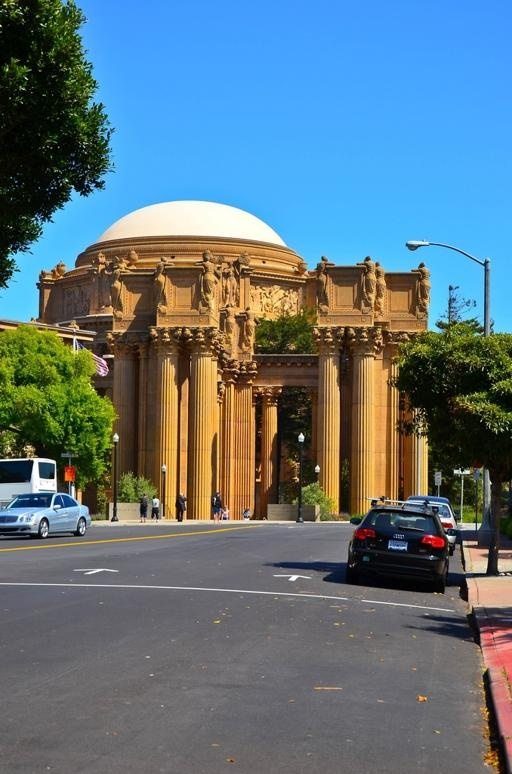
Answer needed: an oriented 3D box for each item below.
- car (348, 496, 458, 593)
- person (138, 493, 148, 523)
[{"bbox_3d":[2.206,2.445,16.702,1.514,1.266,0.768,1,-4,5],"label":"car"},{"bbox_3d":[-5.309,5.774,51.452,0.287,1.269,1.677,2,-4,-9],"label":"person"}]
